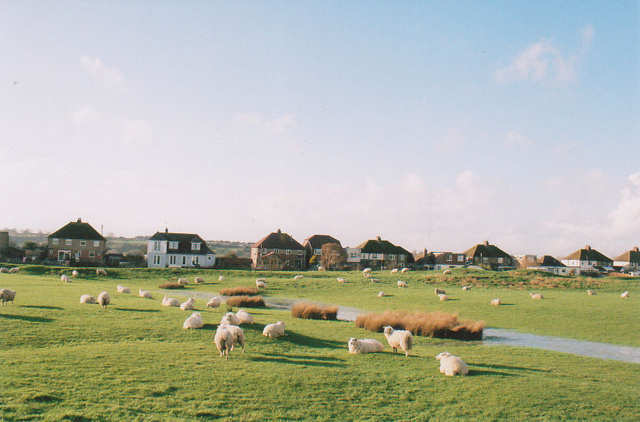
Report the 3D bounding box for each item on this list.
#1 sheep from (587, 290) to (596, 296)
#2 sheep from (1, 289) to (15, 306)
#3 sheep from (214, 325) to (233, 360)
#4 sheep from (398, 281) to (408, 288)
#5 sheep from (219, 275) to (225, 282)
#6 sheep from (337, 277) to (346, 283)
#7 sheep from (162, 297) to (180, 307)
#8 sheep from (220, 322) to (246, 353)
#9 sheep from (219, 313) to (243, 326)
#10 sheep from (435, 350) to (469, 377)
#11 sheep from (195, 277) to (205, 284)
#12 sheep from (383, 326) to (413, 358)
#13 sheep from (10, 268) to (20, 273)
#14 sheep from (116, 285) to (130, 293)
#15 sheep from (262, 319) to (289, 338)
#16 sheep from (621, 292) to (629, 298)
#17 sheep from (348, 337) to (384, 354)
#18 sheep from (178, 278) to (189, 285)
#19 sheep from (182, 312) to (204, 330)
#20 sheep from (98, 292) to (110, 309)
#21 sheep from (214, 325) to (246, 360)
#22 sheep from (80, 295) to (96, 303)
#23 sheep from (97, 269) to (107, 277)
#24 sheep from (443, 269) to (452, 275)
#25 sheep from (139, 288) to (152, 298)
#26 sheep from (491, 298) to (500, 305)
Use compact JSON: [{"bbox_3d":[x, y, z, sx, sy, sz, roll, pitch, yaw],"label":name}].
[{"bbox_3d":[31.645,9.553,71.333,0.562,0.302,0.770,2,2,-16],"label":"sheep"},{"bbox_3d":[-22.187,6.033,43.290,0.547,0.925,1.345,5,7,24],"label":"sheep"},{"bbox_3d":[-5.473,7.526,34.670,0.815,1.703,1.109,5,-12,-34],"label":"sheep"},{"bbox_3d":[10.497,9.377,77.637,1.168,0.839,1.832,-3,-10,6],"label":"sheep"},{"bbox_3d":[-13.504,9.285,83.481,0.558,0.563,0.557,-2,3,-7],"label":"sheep"},{"bbox_3d":[2.849,9.347,82.423,0.983,0.523,0.344,14,-3,19],"label":"sheep"},{"bbox_3d":[-12.370,7.485,50.123,1.180,0.610,0.656,3,-3,44],"label":"sheep"},{"bbox_3d":[-5.204,7.555,36.524,0.911,1.538,2.721,6,-7,-20],"label":"sheep"},{"bbox_3d":[-6.038,7.306,41.024,0.685,0.603,1.207,-2,-15,7],"label":"sheep"},{"bbox_3d":[7.209,8.518,34.149,0.797,0.815,1.538,2,2,-18],"label":"sheep"},{"bbox_3d":[-15.717,9.035,79.545,1.013,0.657,1.457,2,-11,-21],"label":"sheep"},{"bbox_3d":[4.763,8.067,37.764,0.856,1.707,2.440,0,-7,-35],"label":"sheep"},{"bbox_3d":[-40.014,7.794,80.164,0.902,0.715,1.610,2,-11,-23],"label":"sheep"},{"bbox_3d":[-19.170,7.663,59.352,0.657,0.642,1.245,3,1,-35],"label":"sheep"},{"bbox_3d":[-2.893,7.712,39.567,1.604,0.979,0.926,1,-10,-15],"label":"sheep"},{"bbox_3d":[33.736,9.322,67.540,0.642,0.644,1.199,2,-4,-4],"label":"sheep"},{"bbox_3d":[2.704,8.238,37.281,1.750,0.719,0.970,5,-12,-14],"label":"sheep"},{"bbox_3d":[-17.293,8.981,77.481,0.615,0.715,1.294,2,2,14],"label":"sheep"},{"bbox_3d":[-8.320,7.300,40.262,1.071,1.024,1.636,-6,-11,23],"label":"sheep"},{"bbox_3d":[-16.213,6.748,45.727,0.650,1.200,1.281,1,-10,-16],"label":"sheep"},{"bbox_3d":[-5.164,7.551,35.123,1.347,1.788,2.090,-4,-10,11],"label":"sheep"},{"bbox_3d":[-18.259,6.929,47.942,1.104,0.573,0.647,2,-10,-22],"label":"sheep"},{"bbox_3d":[-29.950,8.467,84.024,1.002,0.971,1.716,-4,-10,10],"label":"sheep"},{"bbox_3d":[20.512,9.782,98.238,0.901,0.523,1.533,0,1,31],"label":"sheep"},{"bbox_3d":[-16.204,7.797,56.697,0.641,1.063,1.869,0,8,-37],"label":"sheep"},{"bbox_3d":[16.809,8.658,58.160,0.408,0.650,1.280,4,5,40],"label":"sheep"}]
